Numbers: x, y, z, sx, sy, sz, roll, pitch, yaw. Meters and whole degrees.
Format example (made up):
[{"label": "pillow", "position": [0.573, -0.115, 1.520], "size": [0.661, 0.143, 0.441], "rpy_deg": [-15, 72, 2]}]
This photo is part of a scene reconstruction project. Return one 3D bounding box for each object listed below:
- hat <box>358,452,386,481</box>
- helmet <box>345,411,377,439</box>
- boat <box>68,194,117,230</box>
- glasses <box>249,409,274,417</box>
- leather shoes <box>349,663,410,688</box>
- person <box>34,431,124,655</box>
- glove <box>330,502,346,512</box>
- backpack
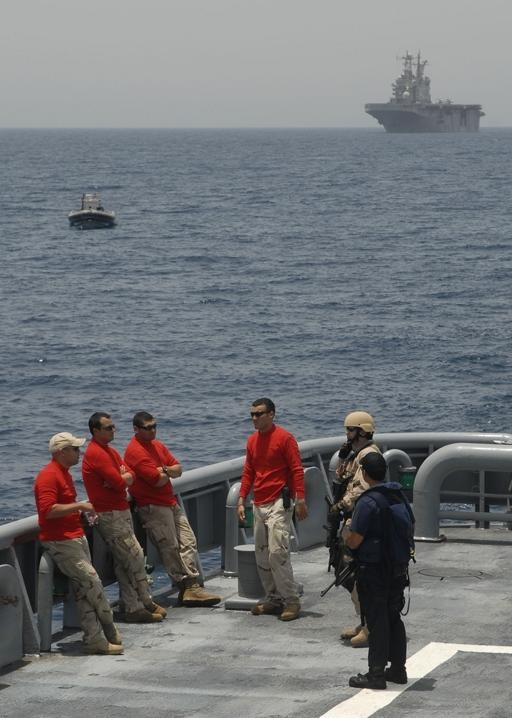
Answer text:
[{"label": "hat", "position": [0.802, 0.721, 9.673], "size": [0.160, 0.157, 0.199], "rpy_deg": [0, 40, -5]}, {"label": "helmet", "position": [0.803, 0.505, 10.824], "size": [0.238, 0.169, 0.176], "rpy_deg": [-5, 10, -8]}, {"label": "boat", "position": [-12.178, -10.863, 103.729], "size": [3.286, 2.815, 6.456], "rpy_deg": [-1, 3, -3]}, {"label": "glasses", "position": [0.052, 0.440, 11.370], "size": [0.178, 0.080, 0.180], "rpy_deg": [-1, 8, 1]}, {"label": "leather shoes", "position": [0.841, 2.175, 9.691], "size": [0.431, 0.160, 0.148], "rpy_deg": [2, -2, -5]}, {"label": "person", "position": [-1.346, 1.373, 10.681], "size": [0.607, 1.697, 0.637], "rpy_deg": [-2, 9, -7]}, {"label": "glove", "position": [0.638, 1.135, 10.803], "size": [0.083, 0.069, 0.076], "rpy_deg": [-3, -12, -12]}, {"label": "backpack", "position": [0.937, 1.141, 9.576], "size": [0.345, 0.580, 0.230], "rpy_deg": [-3, 9, -15]}]
